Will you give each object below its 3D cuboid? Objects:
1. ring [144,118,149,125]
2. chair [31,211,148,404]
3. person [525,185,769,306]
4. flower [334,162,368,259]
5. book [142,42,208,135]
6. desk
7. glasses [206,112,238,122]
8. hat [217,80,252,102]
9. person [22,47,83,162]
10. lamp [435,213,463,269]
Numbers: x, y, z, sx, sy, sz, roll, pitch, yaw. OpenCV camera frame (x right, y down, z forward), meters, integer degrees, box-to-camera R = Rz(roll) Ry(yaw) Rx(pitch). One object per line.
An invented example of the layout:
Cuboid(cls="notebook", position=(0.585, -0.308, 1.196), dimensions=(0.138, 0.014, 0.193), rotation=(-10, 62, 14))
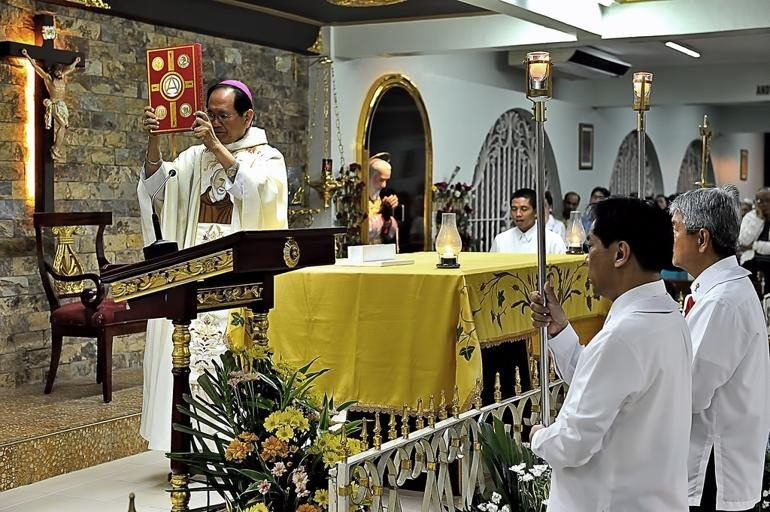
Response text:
Cuboid(cls="ring", position=(-1.157, -0.653, 4.422), dimensions=(0.034, 0.032, 0.009), rotation=(0, 8, 44))
Cuboid(cls="chair", position=(-2.262, 0.343, 6.858), dimensions=(0.697, 1.347, 1.035), rotation=(-1, 4, -23))
Cuboid(cls="person", position=(1.147, -0.099, 4.003), dimensions=(0.581, 0.739, 0.507), rotation=(8, 7, 41))
Cuboid(cls="flower", position=(-0.347, -0.460, 9.083), dimensions=(0.350, 0.939, 0.475), rotation=(1, 4, -2))
Cuboid(cls="book", position=(-1.031, -0.821, 4.458), dimensions=(0.354, 0.434, 0.157), rotation=(2, 4, 20))
Cuboid(cls="desk", position=(0.480, 0.533, 5.936), dimensions=(1.617, 0.993, 2.083), rotation=(2, 2, 42))
Cuboid(cls="glasses", position=(-0.890, -0.762, 5.018), dimensions=(0.176, 0.053, 0.058), rotation=(-2, 5, -35))
Cuboid(cls="hat", position=(-0.833, -0.935, 5.136), dimensions=(0.147, 0.123, 0.360), rotation=(1, 4, -2))
Cuboid(cls="person", position=(-2.564, -1.150, 6.991), dimensions=(0.160, 0.808, 0.429), rotation=(4, 5, 43))
Cuboid(cls="lamp", position=(0.374, -0.098, 5.376), dimensions=(0.171, 0.297, 0.169), rotation=(2, 7, 23))
